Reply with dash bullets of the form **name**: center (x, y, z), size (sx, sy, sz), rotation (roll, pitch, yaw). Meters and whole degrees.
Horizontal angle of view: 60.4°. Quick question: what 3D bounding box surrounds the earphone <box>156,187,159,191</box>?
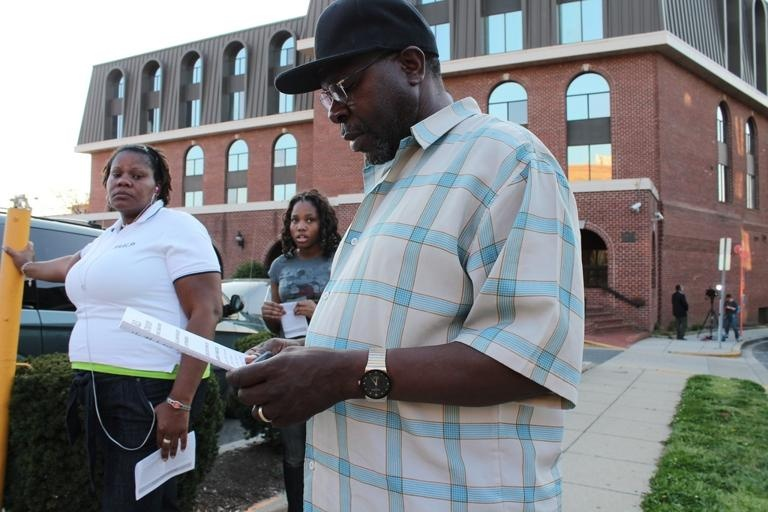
- **earphone**: center (-1.935, -0.581, 5.634), size (0.005, 0.020, 0.022), rotation (3, -12, 15)

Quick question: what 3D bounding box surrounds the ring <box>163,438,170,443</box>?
- **ring**: center (-1.714, 1.453, 5.197), size (0.035, 0.022, 0.034), rotation (1, -8, 0)

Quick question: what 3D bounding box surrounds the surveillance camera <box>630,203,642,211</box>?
- **surveillance camera**: center (7.882, -1.560, 20.660), size (0.342, 0.285, 0.193), rotation (3, 5, 27)

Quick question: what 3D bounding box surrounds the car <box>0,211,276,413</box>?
- **car**: center (-2.836, 0.544, 8.316), size (3.383, 1.792, 1.813), rotation (-2, -1, -31)

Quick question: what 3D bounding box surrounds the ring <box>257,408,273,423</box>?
- **ring**: center (-0.712, 0.967, 3.956), size (0.078, 0.034, 0.094), rotation (5, -35, 35)
